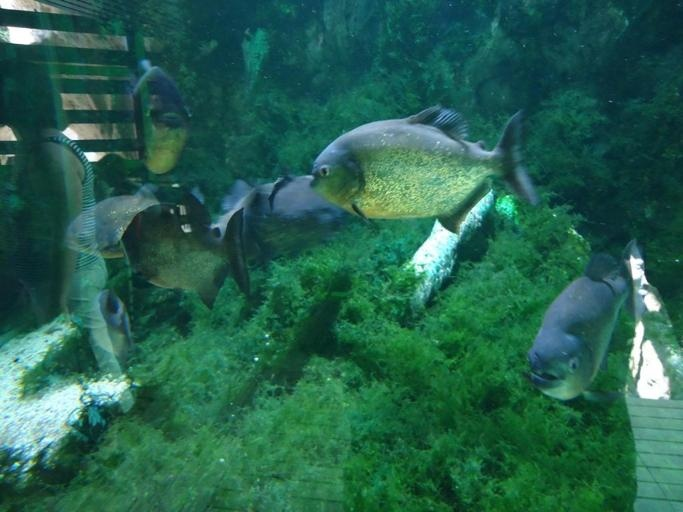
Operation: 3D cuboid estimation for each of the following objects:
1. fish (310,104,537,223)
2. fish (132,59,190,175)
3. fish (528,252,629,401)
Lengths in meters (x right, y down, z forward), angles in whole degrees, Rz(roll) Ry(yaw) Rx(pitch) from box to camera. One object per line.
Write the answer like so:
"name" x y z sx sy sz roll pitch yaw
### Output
"fish" 0.331 -0.361 2.507 0.847 0.475 0.195 9 28 -9
"fish" -0.688 -0.520 2.522 0.237 0.402 0.094 -4 7 -12
"fish" 0.904 0.205 2.597 0.249 0.313 0.651 19 56 39
